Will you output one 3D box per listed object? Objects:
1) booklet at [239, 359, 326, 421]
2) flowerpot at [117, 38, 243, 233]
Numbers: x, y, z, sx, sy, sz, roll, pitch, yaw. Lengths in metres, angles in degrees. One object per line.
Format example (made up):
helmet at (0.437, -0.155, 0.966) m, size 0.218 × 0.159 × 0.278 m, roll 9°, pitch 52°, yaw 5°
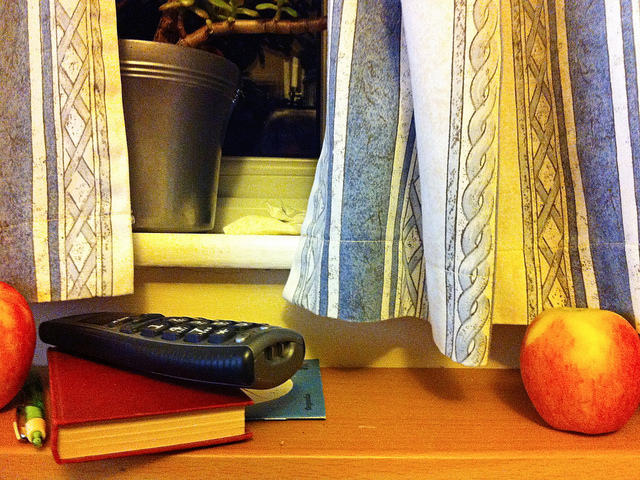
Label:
booklet at (-0.058, 0.195, 0.953) m, size 0.119 × 0.010 × 0.176 m, roll 0°, pitch 23°, yaw -3°
flowerpot at (-0.227, -0.149, 1.109) m, size 0.234 × 0.267 × 0.242 m, roll 5°, pitch 1°, yaw 24°
